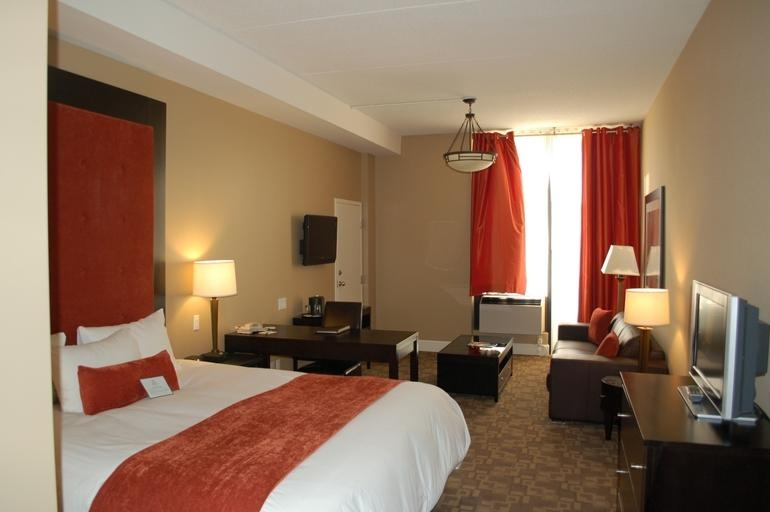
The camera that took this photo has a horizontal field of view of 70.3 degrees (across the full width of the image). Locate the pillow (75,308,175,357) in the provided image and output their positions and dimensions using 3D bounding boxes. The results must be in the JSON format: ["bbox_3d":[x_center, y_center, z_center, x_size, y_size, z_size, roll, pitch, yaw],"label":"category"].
[{"bbox_3d":[-1.998,0.631,4.468,0.131,0.436,0.445,-33,-16,34],"label":"pillow"}]

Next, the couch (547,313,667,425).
[{"bbox_3d":[2.206,1.163,5.822,0.897,0.769,1.750,0,0,18],"label":"couch"}]

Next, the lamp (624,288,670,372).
[{"bbox_3d":[2.269,0.697,4.790,0.334,0.859,0.344,12,-5,-37],"label":"lamp"}]

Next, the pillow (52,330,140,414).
[{"bbox_3d":[-2.126,0.850,3.943,0.138,0.459,0.476,-29,-14,30],"label":"pillow"}]

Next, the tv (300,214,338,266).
[{"bbox_3d":[-0.889,-0.226,7.400,0.116,0.663,0.886,2,2,20],"label":"tv"}]

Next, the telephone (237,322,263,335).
[{"bbox_3d":[-1.441,0.776,5.842,0.159,0.065,0.160,2,3,12],"label":"telephone"}]

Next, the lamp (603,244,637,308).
[{"bbox_3d":[3.067,0.289,7.125,0.400,0.892,0.803,3,8,25],"label":"lamp"}]

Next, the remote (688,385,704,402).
[{"bbox_3d":[2.011,0.900,3.551,0.066,0.040,0.114,-2,-5,21],"label":"remote"}]

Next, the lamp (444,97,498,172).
[{"bbox_3d":[1.139,-1.535,7.407,0.840,1.145,0.875,0,-2,7],"label":"lamp"}]
